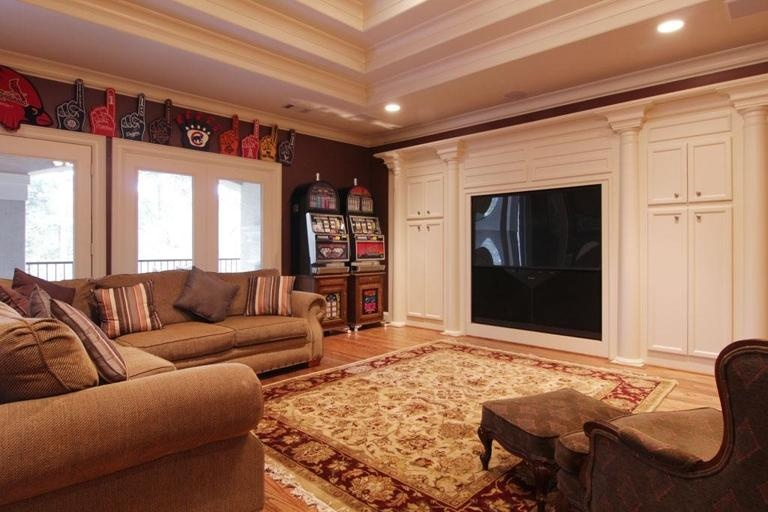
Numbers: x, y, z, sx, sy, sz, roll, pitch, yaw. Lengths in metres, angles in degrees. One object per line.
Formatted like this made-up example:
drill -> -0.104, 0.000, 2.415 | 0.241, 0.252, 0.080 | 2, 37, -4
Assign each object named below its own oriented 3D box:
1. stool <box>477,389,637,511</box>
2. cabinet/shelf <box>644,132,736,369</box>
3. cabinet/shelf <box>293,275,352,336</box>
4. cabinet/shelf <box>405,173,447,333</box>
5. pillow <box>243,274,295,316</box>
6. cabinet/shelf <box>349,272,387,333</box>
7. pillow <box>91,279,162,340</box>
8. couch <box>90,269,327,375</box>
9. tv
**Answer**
stool -> 1.151, 1.121, 3.693 | 0.994, 0.491, 0.719 | 0, -1, -32
cabinet/shelf -> 3.313, -0.039, 5.666 | 0.264, 2.400, 0.909 | -4, 4, -34
cabinet/shelf -> -0.851, 0.714, 7.598 | 0.758, 1.048, 0.930 | -1, -1, 42
cabinet/shelf -> 0.607, -0.097, 7.719 | 0.892, 2.163, 0.347 | 10, 15, 41
pillow -> -1.259, 0.438, 5.778 | 0.460, 0.425, 0.135 | 4, -7, -8
cabinet/shelf -> -0.342, 0.615, 7.767 | 0.461, 0.774, 0.651 | 2, 2, 37
pillow -> -2.429, 0.498, 5.002 | 0.286, 0.469, 0.557 | 19, 17, 41
couch -> -1.843, 0.734, 5.517 | 2.405, 1.116, 1.136 | -3, 3, -40
tv -> 1.929, -0.336, 6.653 | 1.698, 0.946, 0.058 | -1, 3, -9
